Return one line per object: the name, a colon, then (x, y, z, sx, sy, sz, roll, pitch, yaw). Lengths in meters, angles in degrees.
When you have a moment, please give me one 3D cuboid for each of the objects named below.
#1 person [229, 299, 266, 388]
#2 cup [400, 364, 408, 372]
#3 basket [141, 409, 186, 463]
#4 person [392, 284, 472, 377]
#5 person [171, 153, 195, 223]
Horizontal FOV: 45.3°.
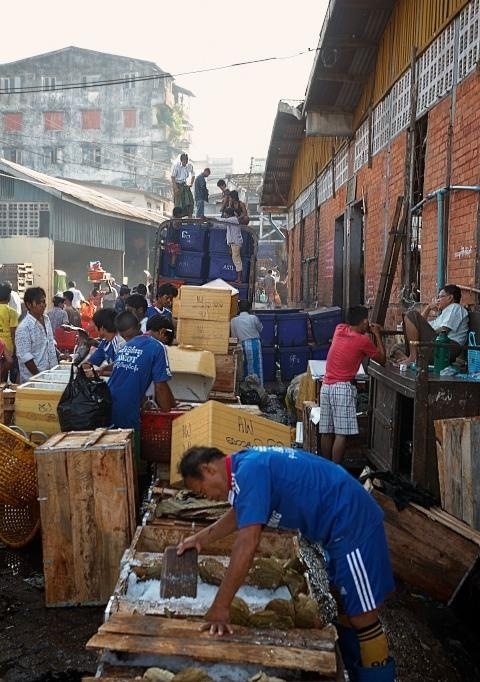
person: (0.166, 0.082, 9.943, 0.476, 1.683, 0.403, -5, 26, 1)
cup: (1.363, 0.224, 4.800, 0.058, 0.062, 0.061, 0, -4, 0)
basket: (-0.563, 0.769, 4.622, 0.392, 0.449, 0.290, 1, -6, -1)
person: (1.824, -0.147, 5.440, 0.581, 0.897, 0.654, 6, -12, 26)
person: (-1.357, -3.707, 13.609, 0.521, 1.493, 1.871, 1, 2, -5)
